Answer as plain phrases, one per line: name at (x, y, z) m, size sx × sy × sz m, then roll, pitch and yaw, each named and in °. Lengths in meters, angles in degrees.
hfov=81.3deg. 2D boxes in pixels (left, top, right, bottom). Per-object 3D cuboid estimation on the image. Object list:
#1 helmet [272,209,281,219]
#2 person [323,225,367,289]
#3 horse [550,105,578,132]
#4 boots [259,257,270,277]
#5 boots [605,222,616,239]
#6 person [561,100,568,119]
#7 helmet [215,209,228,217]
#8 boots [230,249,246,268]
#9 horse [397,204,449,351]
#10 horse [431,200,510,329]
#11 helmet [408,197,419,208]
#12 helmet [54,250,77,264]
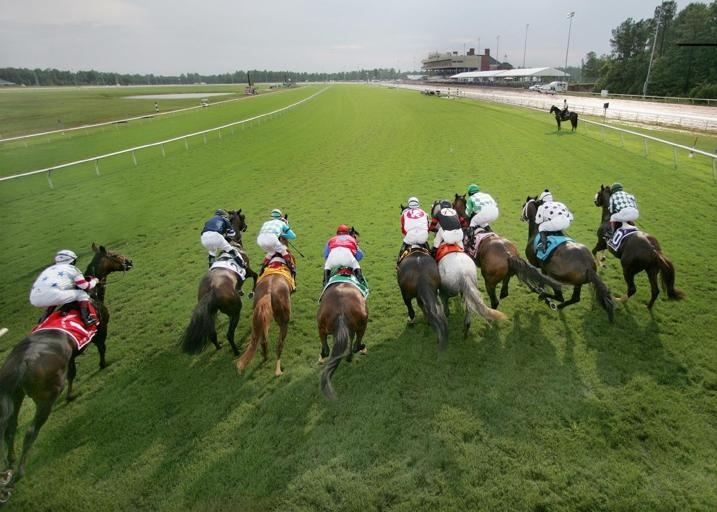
helmet at (-1.901, -0.995, 9.691) m, size 0.205 × 0.221 × 0.278 m, roll 1°, pitch -7°, yaw -10°
person at (-0.301, 0.107, 8.642) m, size 0.680 × 0.911 × 1.457 m, roll 2°, pitch 46°, yaw -3°
horse at (12.428, -8.258, 25.064) m, size 1.111 × 1.282 × 2.066 m, roll 5°, pitch 26°, yaw 13°
boots at (-2.149, 0.261, 9.527) m, size 0.155 × 0.119 × 0.500 m, roll -13°, pitch 44°, yaw 9°
boots at (5.911, -0.610, 9.853) m, size 0.133 × 0.308 × 0.572 m, roll 11°, pitch 35°, yaw 24°
person at (12.315, -8.764, 24.800) m, size 0.375 × 0.980 × 1.838 m, roll 10°, pitch 28°, yaw 22°
helmet at (-3.250, -1.009, 9.996) m, size 0.310 × 0.183 × 0.412 m, roll 4°, pitch 0°, yaw 3°
boots at (-2.642, 0.070, 9.310) m, size 0.156 × 0.582 × 0.161 m, roll -14°, pitch 56°, yaw 34°
horse at (1.384, 0.509, 8.800) m, size 0.664 × 1.700 × 3.013 m, roll -12°, pitch 54°, yaw 4°
horse at (2.380, 0.246, 8.978) m, size 0.662 × 1.710 × 2.981 m, roll -11°, pitch 48°, yaw -4°
helmet at (1.300, -1.223, 9.548) m, size 0.271 × 0.306 × 0.347 m, roll -1°, pitch -3°, yaw 2°
helmet at (-5.618, -0.015, 8.000) m, size 0.329 × 0.267 × 0.251 m, roll 0°, pitch 15°, yaw -40°
